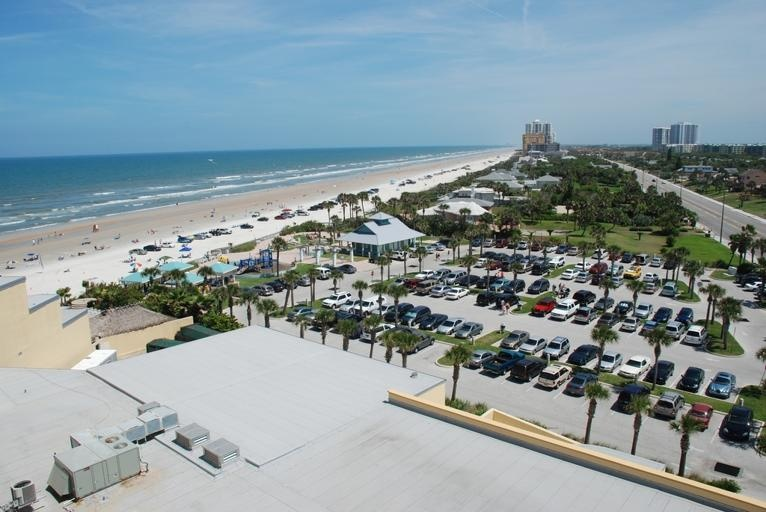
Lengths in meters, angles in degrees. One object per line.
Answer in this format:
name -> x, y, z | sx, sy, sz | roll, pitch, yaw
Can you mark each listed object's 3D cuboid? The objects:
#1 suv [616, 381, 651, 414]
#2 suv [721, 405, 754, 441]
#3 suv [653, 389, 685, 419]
suv -> 18.093, 10.318, 35.355 | 3.110, 1.550, 1.505 | -15, 16, -41
suv -> 23.963, 11.226, 32.499 | 1.388, 0.926, 3.283 | -2, 6, 39
suv -> 20.332, 10.680, 34.365 | 2.046, 1.473, 1.296 | -16, 16, -39
